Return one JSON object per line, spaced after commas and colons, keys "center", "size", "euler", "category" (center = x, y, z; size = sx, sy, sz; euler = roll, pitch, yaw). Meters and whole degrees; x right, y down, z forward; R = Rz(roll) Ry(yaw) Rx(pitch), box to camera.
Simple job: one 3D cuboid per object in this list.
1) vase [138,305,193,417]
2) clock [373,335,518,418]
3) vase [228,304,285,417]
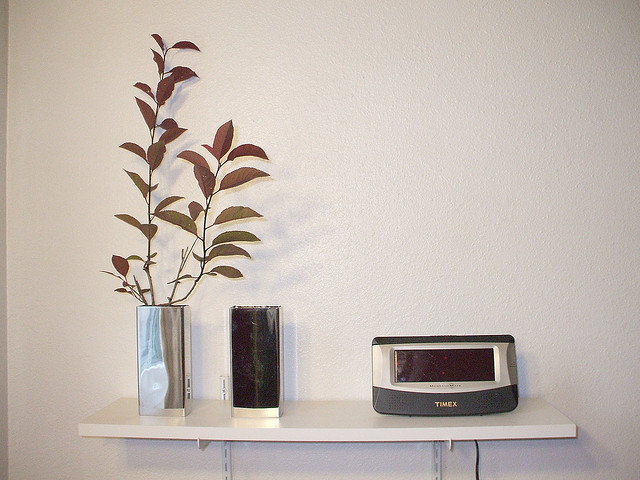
{"center": [-0.489, 0.379, 1.921], "size": [0.161, 0.340, 0.070], "euler": [0, -9, 0], "category": "vase"}
{"center": [0.415, 0.456, 1.992], "size": [0.453, 0.254, 0.231], "euler": [-4, -21, 14], "category": "clock"}
{"center": [-0.203, 0.377, 1.899], "size": [0.156, 0.334, 0.077], "euler": [1, -9, -7], "category": "vase"}
